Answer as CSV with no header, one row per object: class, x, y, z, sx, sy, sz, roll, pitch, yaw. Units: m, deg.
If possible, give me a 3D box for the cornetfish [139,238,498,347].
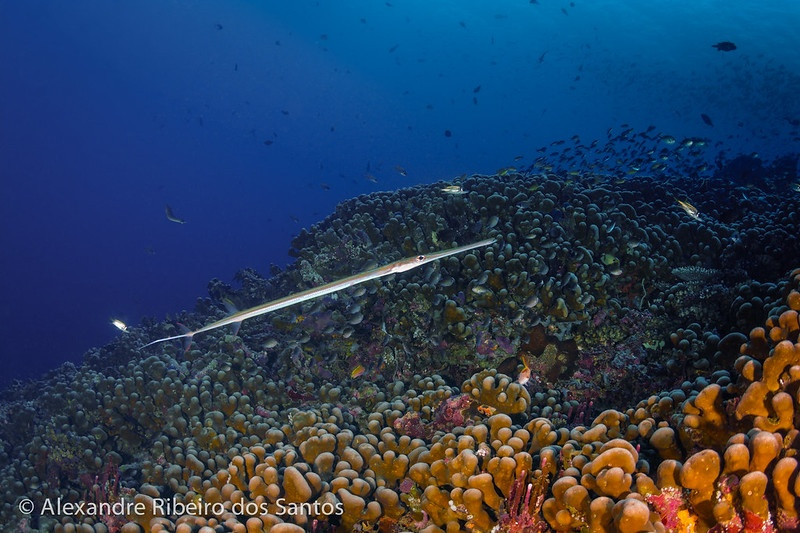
cornetfish,-2.852,0.756,30.584,11.297,5.565,1.422,-9,63,-18
